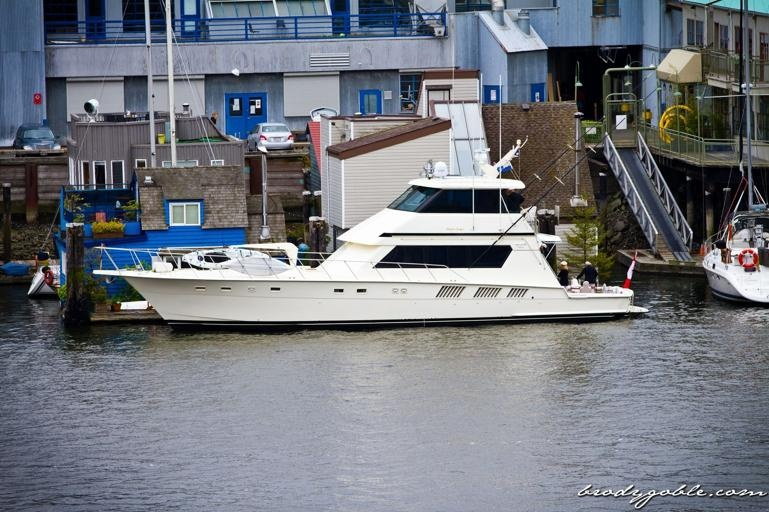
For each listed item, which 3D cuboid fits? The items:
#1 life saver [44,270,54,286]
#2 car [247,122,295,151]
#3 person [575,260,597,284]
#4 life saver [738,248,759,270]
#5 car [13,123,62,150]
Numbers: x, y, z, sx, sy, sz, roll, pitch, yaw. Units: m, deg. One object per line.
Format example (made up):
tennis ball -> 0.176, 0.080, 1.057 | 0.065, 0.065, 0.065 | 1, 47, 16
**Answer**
life saver -> -13.244, 0.847, 62.466 | 0.352, 0.638, 0.504 | -5, 8, -11
car -> -5.288, -5.589, 74.430 | 1.213, 0.966, 2.741 | -2, 9, -10
person -> 7.723, 0.581, 60.239 | 0.761, 1.424, 0.462 | -1, 12, 4
life saver -> 14.171, 0.093, 61.187 | 0.992, 0.813, 0.565 | -10, 10, -40
car -> -16.603, -5.622, 75.376 | 1.146, 1.038, 2.573 | -1, -1, -20
